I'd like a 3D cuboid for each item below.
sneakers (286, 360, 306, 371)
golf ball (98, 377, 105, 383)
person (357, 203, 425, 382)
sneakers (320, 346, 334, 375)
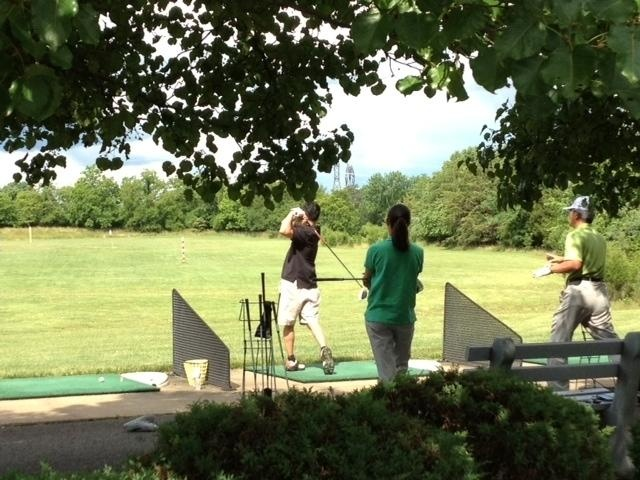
[{"bbox_3d":[-0.393,2.005,10.898,0.136,0.161,0.334,1,0,35],"label":"sneakers"},{"bbox_3d":[-3.417,2.179,10.538,0.073,0.029,0.078,4,4,0],"label":"golf ball"},{"bbox_3d":[0.740,0.523,6.946,0.595,1.795,0.371,2,1,4],"label":"person"},{"bbox_3d":[0.127,1.866,10.473,0.176,0.494,0.205,-5,2,-25],"label":"sneakers"}]
